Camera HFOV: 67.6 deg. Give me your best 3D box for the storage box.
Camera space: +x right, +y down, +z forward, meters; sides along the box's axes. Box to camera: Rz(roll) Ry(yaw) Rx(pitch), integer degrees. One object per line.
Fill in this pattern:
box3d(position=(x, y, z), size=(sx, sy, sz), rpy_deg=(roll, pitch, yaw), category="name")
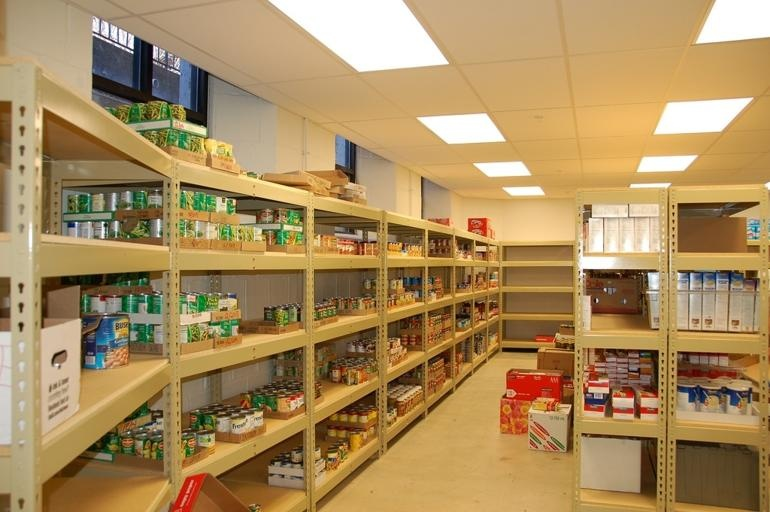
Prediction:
box3d(position=(1.590, 1.473, 5.842), size=(0.613, 0.353, 1.058), rpy_deg=(0, 1, 21), category="storage box")
